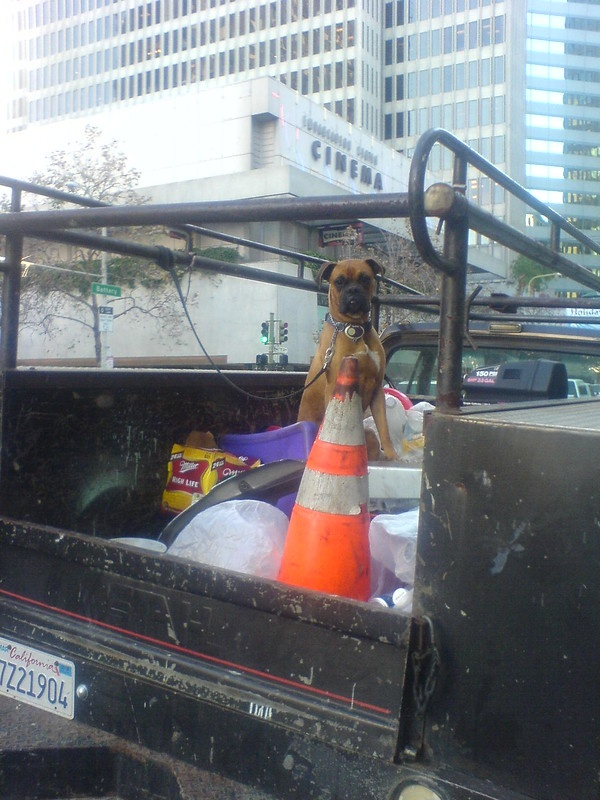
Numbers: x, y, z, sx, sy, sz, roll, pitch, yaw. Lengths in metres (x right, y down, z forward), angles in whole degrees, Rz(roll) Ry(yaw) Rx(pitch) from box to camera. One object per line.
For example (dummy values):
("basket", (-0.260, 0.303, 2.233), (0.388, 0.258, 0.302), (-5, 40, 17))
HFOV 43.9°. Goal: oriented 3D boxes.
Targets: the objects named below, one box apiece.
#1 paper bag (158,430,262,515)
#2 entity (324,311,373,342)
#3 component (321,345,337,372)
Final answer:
("paper bag", (-0.338, 0.230, 2.764), (0.202, 0.337, 0.337), (13, 13, 23))
("entity", (0.210, -0.309, 3.188), (0.105, 0.072, 0.150), (14, -5, -6))
("component", (0.120, -0.180, 3.180), (0.029, 0.099, 0.057), (15, 2, -23))
